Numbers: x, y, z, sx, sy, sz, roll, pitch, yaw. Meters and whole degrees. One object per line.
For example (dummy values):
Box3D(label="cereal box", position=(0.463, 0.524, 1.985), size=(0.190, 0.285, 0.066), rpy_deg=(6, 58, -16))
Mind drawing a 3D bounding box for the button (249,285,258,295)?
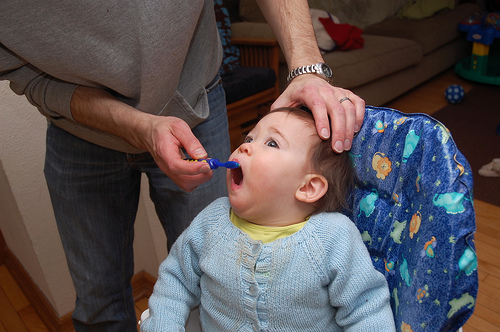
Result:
Box3D(label="button", position=(0.010, 0.355, 1.227), size=(0.027, 0.024, 0.019), rpy_deg=(-4, 35, 7))

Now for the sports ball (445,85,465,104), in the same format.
Box3D(label="sports ball", position=(1.899, -0.658, 3.926), size=(0.152, 0.183, 0.156), rpy_deg=(-13, 39, 11))

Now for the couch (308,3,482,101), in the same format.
Box3D(label="couch", position=(1.294, -1.011, 3.750), size=(1.537, 0.603, 0.585), rpy_deg=(-35, 60, -23))

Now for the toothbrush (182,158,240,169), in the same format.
Box3D(label="toothbrush", position=(-0.118, -0.008, 1.255), size=(0.191, 0.035, 0.029), rpy_deg=(4, -3, -16))
